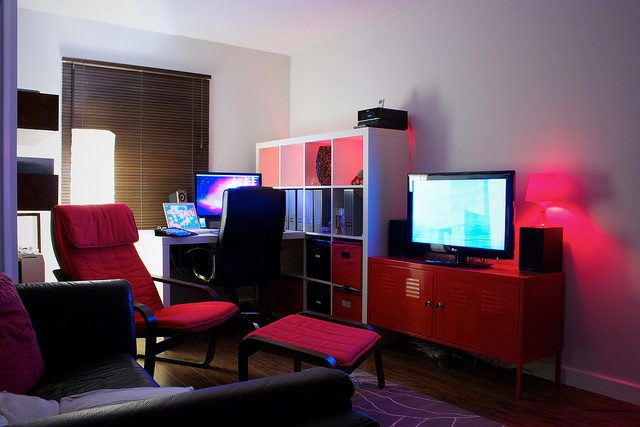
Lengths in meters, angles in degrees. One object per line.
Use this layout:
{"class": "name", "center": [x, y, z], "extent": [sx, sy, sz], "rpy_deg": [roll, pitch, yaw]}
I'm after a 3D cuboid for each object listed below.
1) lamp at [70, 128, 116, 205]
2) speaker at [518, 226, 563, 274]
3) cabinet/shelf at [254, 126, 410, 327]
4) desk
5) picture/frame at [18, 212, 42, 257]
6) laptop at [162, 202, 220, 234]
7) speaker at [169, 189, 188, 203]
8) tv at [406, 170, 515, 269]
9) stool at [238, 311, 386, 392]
{"class": "lamp", "center": [-2.201, -0.455, 4.541], "extent": [0.390, 0.701, 0.152], "rpy_deg": [-3, 8, -22]}
{"class": "speaker", "center": [1.668, 0.278, 3.553], "extent": [0.378, 0.516, 0.296], "rpy_deg": [0, -3, 20]}
{"class": "cabinet/shelf", "center": [0.159, 0.154, 4.579], "extent": [0.601, 1.977, 2.168], "rpy_deg": [1, -1, -35]}
{"class": "desk", "center": [-1.032, 0.738, 4.421], "extent": [1.452, 0.833, 0.753], "rpy_deg": [1, -1, -42]}
{"class": "picture/frame", "center": [-2.726, 0.195, 4.399], "extent": [0.193, 0.417, 0.433], "rpy_deg": [-4, 9, -31]}
{"class": "laptop", "center": [-1.345, 0.040, 4.696], "extent": [0.388, 0.265, 0.380], "rpy_deg": [-1, -3, 42]}
{"class": "speaker", "center": [-1.497, -0.177, 4.988], "extent": [0.205, 0.192, 0.114], "rpy_deg": [-5, 2, 18]}
{"class": "tv", "center": [1.183, 0.048, 3.883], "extent": [0.865, 0.641, 0.235], "rpy_deg": [-1, -2, 44]}
{"class": "stool", "center": [-0.064, 0.823, 3.052], "extent": [0.624, 0.358, 0.588], "rpy_deg": [5, 6, 31]}
